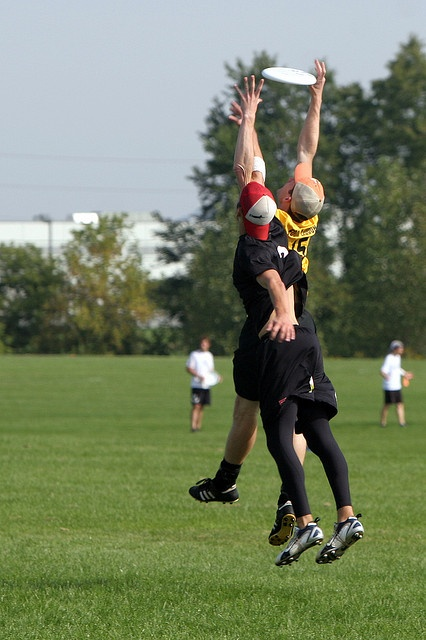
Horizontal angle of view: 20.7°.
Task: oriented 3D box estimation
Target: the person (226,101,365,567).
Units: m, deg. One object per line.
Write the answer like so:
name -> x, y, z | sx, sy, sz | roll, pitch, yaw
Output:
person -> 0.472, 0.306, 6.869 | 0.734, 2.216, 0.881 | 3, 2, -6

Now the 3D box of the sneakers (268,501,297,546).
sneakers -> 0.379, 1.222, 6.882 | 0.119, 0.280, 0.156 | 10, 28, -6

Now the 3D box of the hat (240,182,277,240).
hat -> 0.251, -0.638, 6.949 | 0.212, 0.323, 0.173 | -5, -3, -13

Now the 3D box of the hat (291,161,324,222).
hat -> 0.605, -0.840, 7.448 | 0.204, 0.323, 0.167 | 30, -32, -26

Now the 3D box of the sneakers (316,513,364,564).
sneakers -> 0.717, 1.233, 6.615 | 0.243, 0.295, 0.229 | 3, 2, 4
